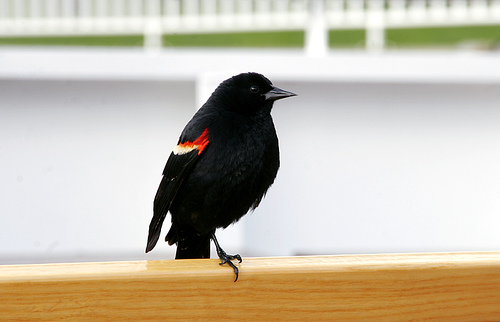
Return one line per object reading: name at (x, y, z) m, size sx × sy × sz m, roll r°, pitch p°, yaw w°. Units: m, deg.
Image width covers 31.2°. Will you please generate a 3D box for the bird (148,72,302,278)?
bird at (-0.194, 0.030, 5.847) m, size 0.800 × 1.219 × 0.597 m, roll 3°, pitch 5°, yaw 11°
